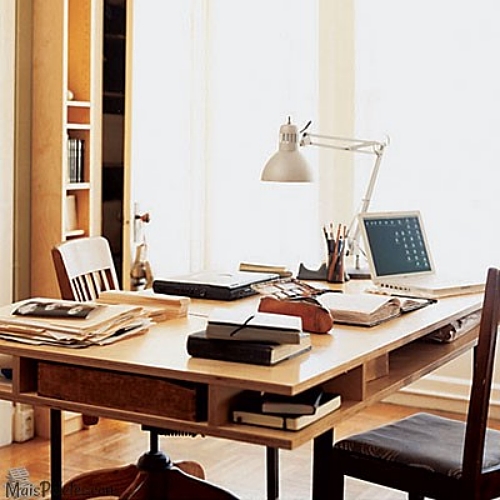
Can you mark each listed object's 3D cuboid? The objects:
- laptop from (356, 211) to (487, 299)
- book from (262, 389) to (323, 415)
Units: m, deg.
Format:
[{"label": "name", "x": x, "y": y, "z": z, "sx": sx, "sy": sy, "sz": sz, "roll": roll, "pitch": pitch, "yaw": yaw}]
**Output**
[{"label": "laptop", "x": 0.653, "y": 0.037, "z": 2.044, "sx": 0.441, "sy": 0.250, "sz": 0.381, "roll": -3, "pitch": 5, "yaw": -44}, {"label": "book", "x": 0.068, "y": 0.256, "z": 0.887, "sx": 0.083, "sy": 0.018, "sz": 0.081, "roll": 1, "pitch": 2, "yaw": 14}]
